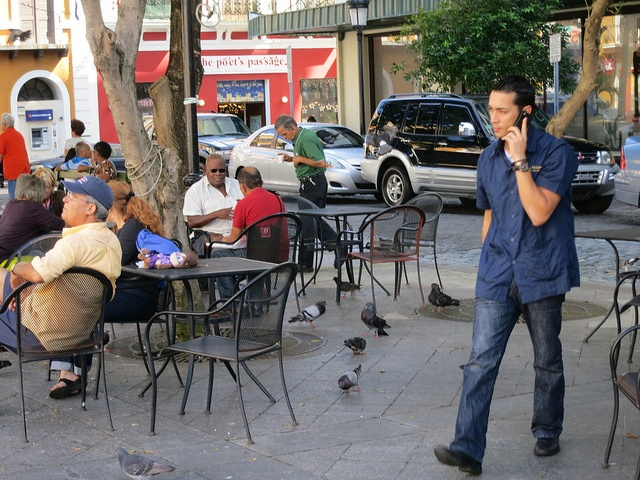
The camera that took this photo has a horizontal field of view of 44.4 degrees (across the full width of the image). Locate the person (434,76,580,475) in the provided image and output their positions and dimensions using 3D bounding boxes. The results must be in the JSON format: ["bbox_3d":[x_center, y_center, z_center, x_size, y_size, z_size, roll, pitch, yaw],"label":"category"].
[{"bbox_3d":[1.204,0.194,4.898,0.958,2.398,0.462,-4,10,-15],"label":"person"}]

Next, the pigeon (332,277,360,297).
[{"bbox_3d":[0.266,0.541,9.288,0.388,0.271,0.135,-1,-12,-19],"label":"pigeon"}]

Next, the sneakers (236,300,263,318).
[{"bbox_3d":[-0.470,0.471,5.426,0.053,0.157,0.205,5,12,37],"label":"sneakers"}]

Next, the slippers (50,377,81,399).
[{"bbox_3d":[-1.990,1.150,6.132,0.106,0.086,0.281,-9,-5,29],"label":"slippers"}]

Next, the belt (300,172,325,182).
[{"bbox_3d":[-0.158,-0.908,11.395,0.192,0.048,0.192,-18,3,-27],"label":"belt"}]

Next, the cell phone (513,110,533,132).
[{"bbox_3d":[1.230,-0.737,4.776,0.055,0.215,0.050,7,-32,49],"label":"cell phone"}]

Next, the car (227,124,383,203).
[{"bbox_3d":[-0.271,-1.908,18.389,2.995,1.304,1.668,1,3,43],"label":"car"}]

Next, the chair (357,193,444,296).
[{"bbox_3d":[1.292,-0.039,9.688,0.913,1.368,0.961,1,0,-30],"label":"chair"}]

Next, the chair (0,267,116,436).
[{"bbox_3d":[-1.925,0.812,5.726,0.875,1.302,0.833,-6,14,-28],"label":"chair"}]

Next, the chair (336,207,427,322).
[{"bbox_3d":[0.791,0.112,9.146,1.040,1.493,1.061,-5,17,-21],"label":"chair"}]

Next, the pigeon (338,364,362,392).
[{"bbox_3d":[0.236,1.058,6.095,0.096,0.110,0.254,-7,33,29],"label":"pigeon"}]

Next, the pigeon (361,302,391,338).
[{"bbox_3d":[0.534,0.745,7.468,0.328,0.332,0.185,1,8,-32],"label":"pigeon"}]

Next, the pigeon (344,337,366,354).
[{"bbox_3d":[0.312,0.930,6.963,0.170,0.179,0.271,-1,10,6],"label":"pigeon"}]

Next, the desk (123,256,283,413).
[{"bbox_3d":[-0.954,0.679,6.211,0.992,0.984,0.988,-3,3,-33],"label":"desk"}]

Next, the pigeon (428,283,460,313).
[{"bbox_3d":[1.299,0.628,8.371,0.369,0.298,0.220,0,-4,5],"label":"pigeon"}]

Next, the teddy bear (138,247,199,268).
[{"bbox_3d":[-1.181,0.151,6.027,0.307,0.103,0.184,6,1,14],"label":"teddy bear"}]

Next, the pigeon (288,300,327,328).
[{"bbox_3d":[-0.165,0.717,7.791,0.459,0.293,0.170,-5,-13,15],"label":"pigeon"}]

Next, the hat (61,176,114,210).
[{"bbox_3d":[-1.741,-0.358,5.871,0.324,0.172,0.221,21,7,-14],"label":"hat"}]

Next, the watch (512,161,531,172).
[{"bbox_3d":[1.203,-0.441,4.682,0.080,0.057,0.084,-5,6,-31],"label":"watch"}]

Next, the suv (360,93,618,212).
[{"bbox_3d":[3.333,-1.792,16.100,4.852,2.263,2.477,1,4,43],"label":"suv"}]

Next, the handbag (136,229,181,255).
[{"bbox_3d":[-1.289,0.025,6.185,0.251,0.105,0.199,20,5,10],"label":"handbag"}]
